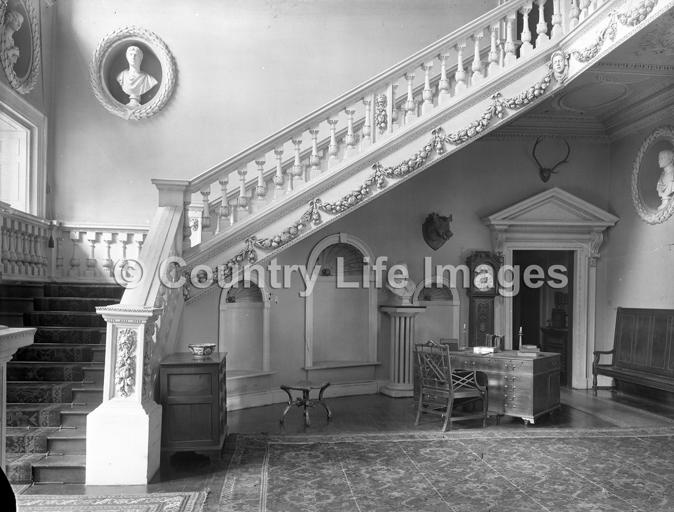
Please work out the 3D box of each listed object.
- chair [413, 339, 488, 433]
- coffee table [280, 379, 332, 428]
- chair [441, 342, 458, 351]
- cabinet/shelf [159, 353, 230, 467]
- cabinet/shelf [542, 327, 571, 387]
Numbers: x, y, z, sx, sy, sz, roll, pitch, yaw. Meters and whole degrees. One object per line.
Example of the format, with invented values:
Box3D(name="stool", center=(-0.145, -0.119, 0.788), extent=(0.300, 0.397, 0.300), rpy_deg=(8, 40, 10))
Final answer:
Box3D(name="chair", center=(1.574, 1.793, 9.086), extent=(0.841, 1.208, 0.905), rpy_deg=(-3, -4, 40))
Box3D(name="coffee table", center=(-0.436, 2.059, 9.198), extent=(0.647, 0.503, 0.632), rpy_deg=(-3, -1, 26))
Box3D(name="chair", center=(1.638, 1.337, 9.547), extent=(0.124, 0.166, 0.232), rpy_deg=(-2, 2, -16))
Box3D(name="cabinet/shelf", center=(-1.702, 1.762, 8.174), extent=(0.764, 1.214, 1.396), rpy_deg=(0, 4, -3))
Box3D(name="cabinet/shelf", center=(4.102, 1.842, 12.497), extent=(0.385, 0.910, 0.934), rpy_deg=(-15, 2, -6))
